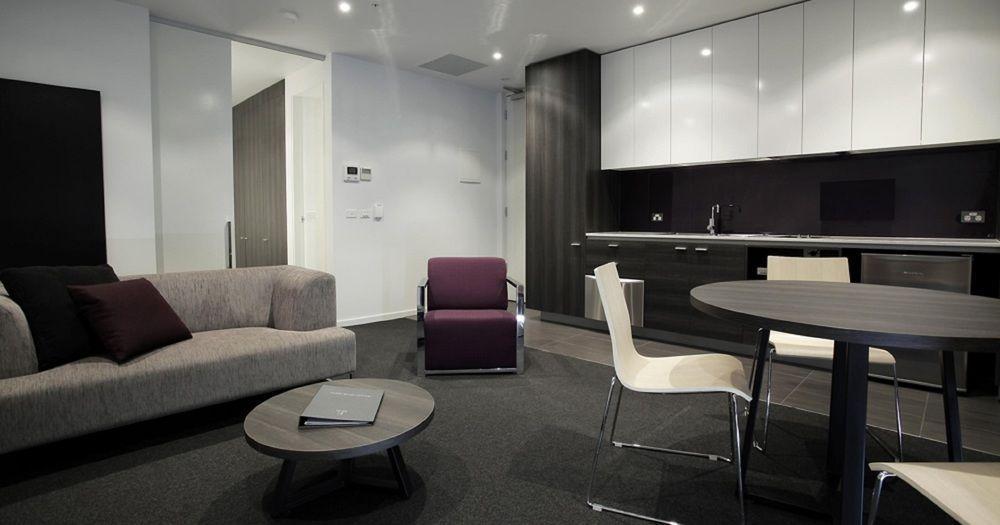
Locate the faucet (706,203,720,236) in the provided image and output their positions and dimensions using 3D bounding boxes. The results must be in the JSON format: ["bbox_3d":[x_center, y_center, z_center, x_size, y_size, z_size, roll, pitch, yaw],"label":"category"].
[{"bbox_3d":[2.676,-0.562,7.535,0.173,0.372,0.275,1,8,18],"label":"faucet"}]

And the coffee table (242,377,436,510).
[{"bbox_3d":[-1.317,1.548,5.037,1.475,0.929,0.801,-3,8,-16],"label":"coffee table"}]
